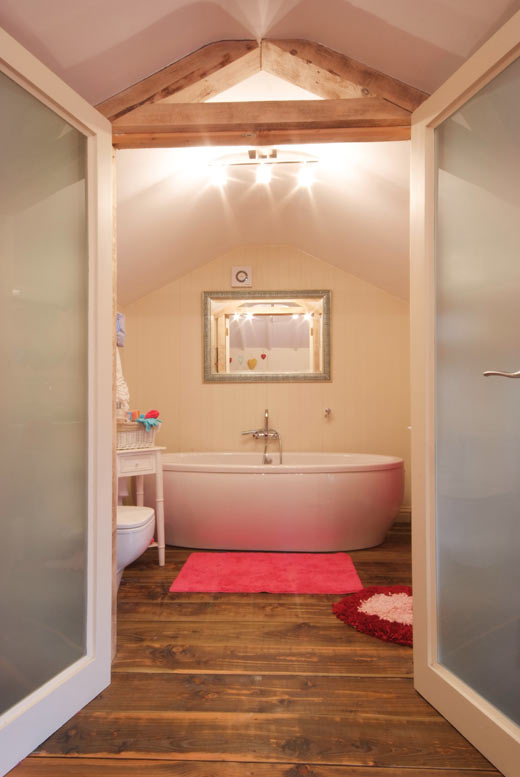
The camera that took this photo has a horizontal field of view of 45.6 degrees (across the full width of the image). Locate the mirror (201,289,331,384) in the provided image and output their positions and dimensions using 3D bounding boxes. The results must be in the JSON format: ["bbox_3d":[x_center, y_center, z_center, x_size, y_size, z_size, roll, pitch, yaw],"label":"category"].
[{"bbox_3d":[0.069,-0.381,4.682,0.687,0.513,0.033,-1,-2,0],"label":"mirror"}]

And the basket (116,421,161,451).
[{"bbox_3d":[-0.657,0.251,3.285,0.062,0.146,0.294,0,1,31],"label":"basket"}]
